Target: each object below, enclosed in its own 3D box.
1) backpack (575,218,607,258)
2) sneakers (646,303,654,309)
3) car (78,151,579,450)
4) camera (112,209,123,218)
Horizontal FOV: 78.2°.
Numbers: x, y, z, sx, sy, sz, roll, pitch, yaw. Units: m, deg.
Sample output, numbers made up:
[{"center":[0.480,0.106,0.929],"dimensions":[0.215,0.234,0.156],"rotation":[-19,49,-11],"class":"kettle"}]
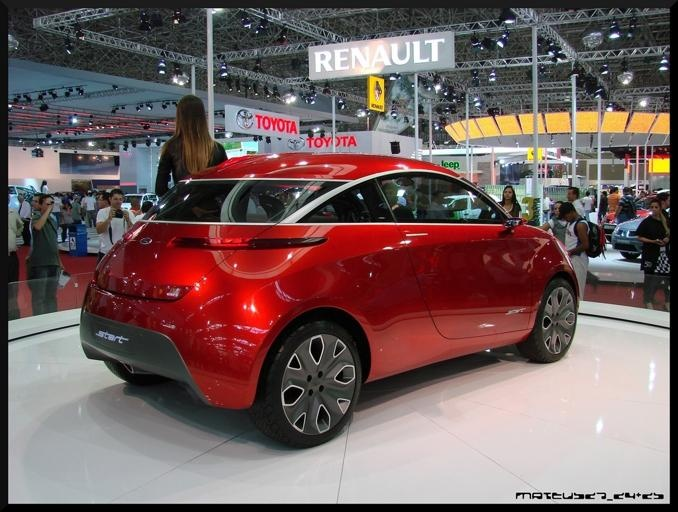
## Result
[{"center":[3.676,-0.277,6.216],"dimensions":[0.628,0.572,0.370],"rotation":[3,6,15],"class":"backpack"},{"center":[4.213,0.675,5.621],"dimensions":[0.069,0.116,0.068],"rotation":[0,-4,43],"class":"sneakers"},{"center":[0.261,0.134,3.471],"dimensions":[3.572,1.407,1.887],"rotation":[-6,8,-38],"class":"car"},{"center":[-3.369,-0.654,6.331],"dimensions":[0.170,0.163,0.126],"rotation":[6,-6,-35],"class":"camera"}]
